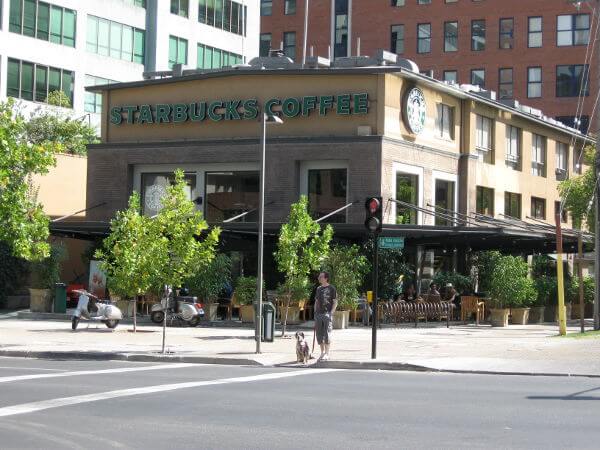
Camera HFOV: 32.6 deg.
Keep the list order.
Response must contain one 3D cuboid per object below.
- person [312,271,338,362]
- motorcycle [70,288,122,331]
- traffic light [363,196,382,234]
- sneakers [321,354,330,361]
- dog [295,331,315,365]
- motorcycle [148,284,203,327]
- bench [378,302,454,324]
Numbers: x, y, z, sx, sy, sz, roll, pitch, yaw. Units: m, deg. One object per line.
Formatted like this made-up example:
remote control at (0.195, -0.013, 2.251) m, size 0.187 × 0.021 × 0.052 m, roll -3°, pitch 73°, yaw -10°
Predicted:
person at (0.727, 2.559, 29.574) m, size 0.708 × 2.359 × 0.584 m, roll 1°, pitch -3°, yaw -4°
motorcycle at (-7.612, 3.175, 38.653) m, size 1.707 × 1.510 × 1.937 m, roll 3°, pitch -7°, yaw -11°
traffic light at (2.070, -0.325, 29.316) m, size 0.486 × 1.037 × 0.397 m, roll 0°, pitch -7°, yaw 13°
sneakers at (0.725, 3.721, 29.188) m, size 0.218 × 0.188 × 0.487 m, roll 1°, pitch -8°, yaw 2°
dog at (0.050, 3.501, 29.504) m, size 0.374 × 0.867 × 1.365 m, roll -1°, pitch -9°, yaw 7°
motorcycle at (-4.961, 3.155, 40.246) m, size 2.191 × 1.662 × 1.219 m, roll 2°, pitch -7°, yaw 19°
bench at (4.897, 3.579, 42.674) m, size 2.722 × 1.065 × 4.919 m, roll -2°, pitch -8°, yaw 21°
